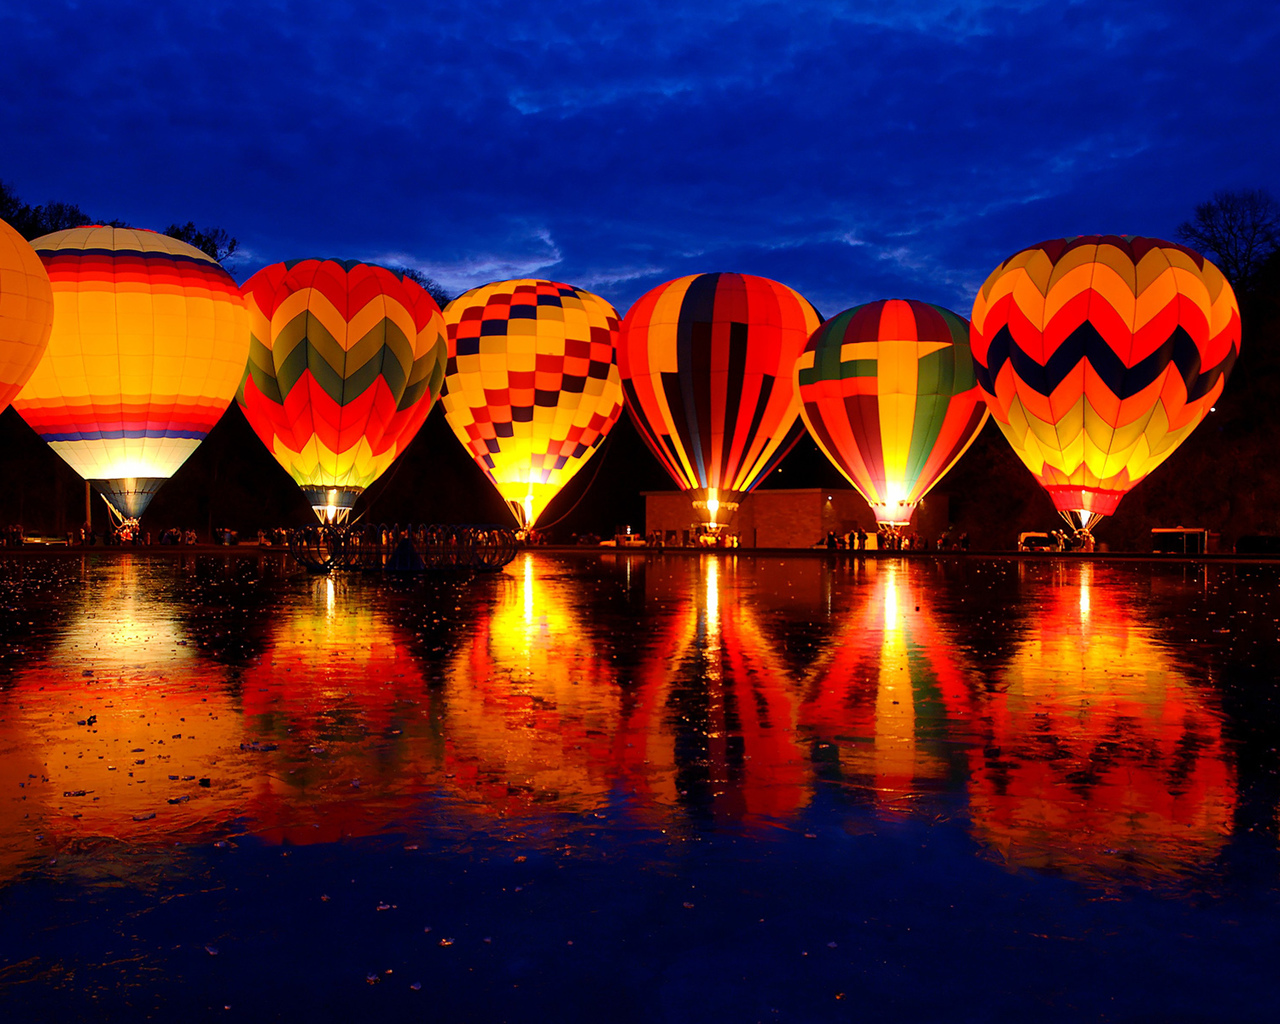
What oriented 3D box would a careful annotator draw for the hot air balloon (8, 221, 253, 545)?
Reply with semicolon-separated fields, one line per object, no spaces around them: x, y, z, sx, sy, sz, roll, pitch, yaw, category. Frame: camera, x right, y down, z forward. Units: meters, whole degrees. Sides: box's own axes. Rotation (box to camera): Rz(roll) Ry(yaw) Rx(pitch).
-13.350;-3.845;31.330;4.881;7.417;2.012;1;1;-32;hot air balloon
